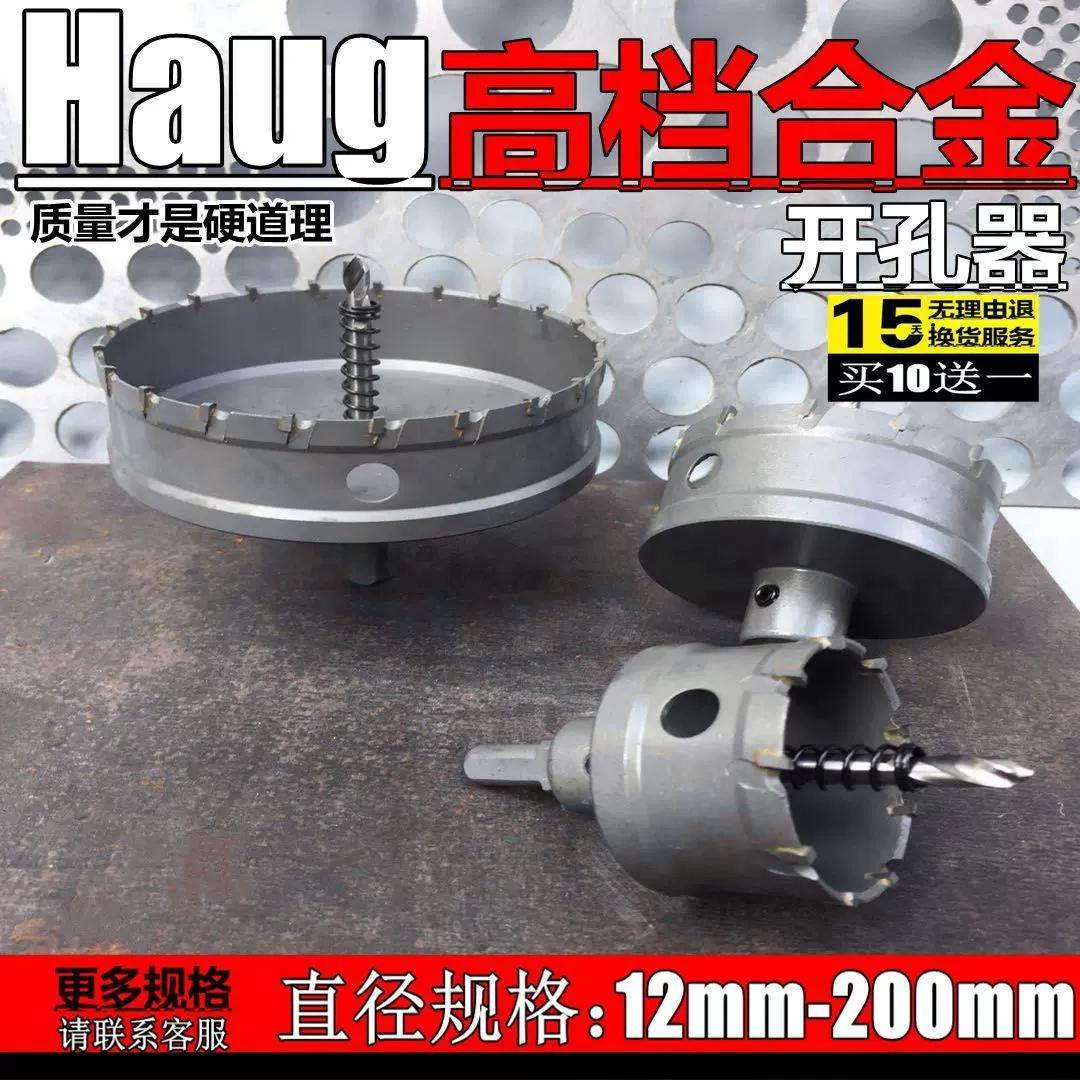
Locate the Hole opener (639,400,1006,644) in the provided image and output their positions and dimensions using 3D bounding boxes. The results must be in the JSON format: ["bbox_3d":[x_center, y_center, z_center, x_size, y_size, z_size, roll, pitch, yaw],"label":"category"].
[{"bbox_3d":[0.398,-0.056,1.745,0.488,0.405,0.143,3,62,13],"label":"Hole opener"}]

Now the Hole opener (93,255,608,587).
[{"bbox_3d":[-0.259,-0.155,1.955,0.747,0.342,0.619,-2,19,0],"label":"Hole opener"}]
